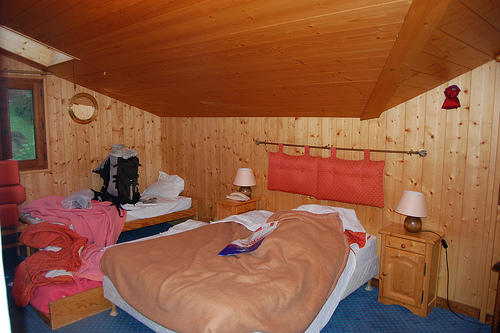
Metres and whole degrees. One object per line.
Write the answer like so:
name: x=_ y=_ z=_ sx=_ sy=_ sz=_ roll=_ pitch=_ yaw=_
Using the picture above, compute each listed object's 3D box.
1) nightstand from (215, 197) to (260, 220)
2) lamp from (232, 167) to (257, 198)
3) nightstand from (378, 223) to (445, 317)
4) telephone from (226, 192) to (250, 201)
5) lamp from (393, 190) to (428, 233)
nightstand: x=-0.214 y=0.549 z=5.460 sx=0.384 sy=0.438 sz=0.518 roll=7 pitch=9 yaw=35
lamp: x=-0.046 y=0.242 z=5.558 sx=0.468 sy=0.482 sz=0.433 roll=0 pitch=9 yaw=12
nightstand: x=1.898 y=1.219 z=4.221 sx=0.637 sy=0.942 sz=0.374 roll=5 pitch=4 yaw=31
telephone: x=-0.196 y=0.467 z=5.409 sx=0.229 sy=0.060 sz=0.164 roll=4 pitch=5 yaw=27
lamp: x=1.885 y=0.524 z=4.282 sx=0.490 sy=0.514 sz=0.474 roll=2 pitch=4 yaw=35
